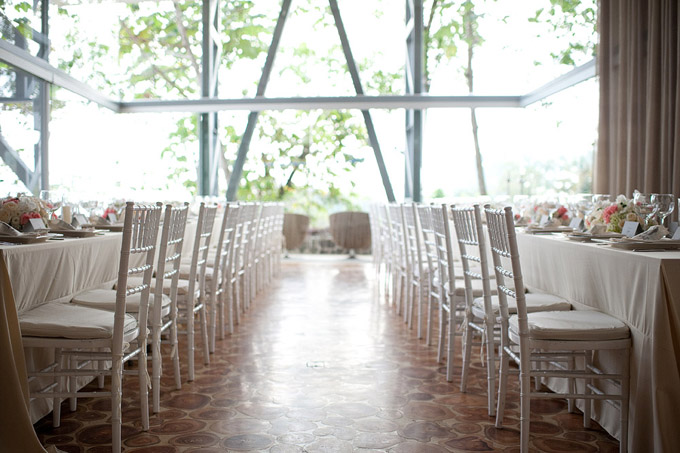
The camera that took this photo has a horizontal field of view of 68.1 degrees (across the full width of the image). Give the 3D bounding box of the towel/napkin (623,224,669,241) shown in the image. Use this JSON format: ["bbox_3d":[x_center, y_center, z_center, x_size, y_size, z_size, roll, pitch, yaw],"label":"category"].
[{"bbox_3d":[1.723,0.041,2.804,0.171,0.054,0.128,-3,4,11],"label":"towel/napkin"}]

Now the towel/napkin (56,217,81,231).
[{"bbox_3d":[-1.873,-0.010,3.480,0.110,0.052,0.144,1,6,-5],"label":"towel/napkin"}]

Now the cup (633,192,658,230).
[{"bbox_3d":[1.782,-0.078,2.929,0.124,0.275,0.121,-16,19,6],"label":"cup"}]

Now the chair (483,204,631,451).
[{"bbox_3d":[1.211,0.528,2.947,0.707,1.317,0.886,-2,2,5],"label":"chair"}]

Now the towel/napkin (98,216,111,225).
[{"bbox_3d":[-1.840,-0.046,3.919,0.084,0.075,0.081,4,12,19],"label":"towel/napkin"}]

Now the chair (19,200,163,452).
[{"bbox_3d":[-1.416,0.525,2.949,0.749,1.320,0.956,-3,2,-20],"label":"chair"}]

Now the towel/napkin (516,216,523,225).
[{"bbox_3d":[1.504,-0.045,4.223,0.021,0.073,0.085,14,-23,-29],"label":"towel/napkin"}]

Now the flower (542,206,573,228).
[{"bbox_3d":[1.688,-0.075,3.913,0.198,0.108,0.162,-6,-4,-28],"label":"flower"}]

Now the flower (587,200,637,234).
[{"bbox_3d":[1.754,-0.074,3.232,0.286,0.189,0.304,4,0,25],"label":"flower"}]
